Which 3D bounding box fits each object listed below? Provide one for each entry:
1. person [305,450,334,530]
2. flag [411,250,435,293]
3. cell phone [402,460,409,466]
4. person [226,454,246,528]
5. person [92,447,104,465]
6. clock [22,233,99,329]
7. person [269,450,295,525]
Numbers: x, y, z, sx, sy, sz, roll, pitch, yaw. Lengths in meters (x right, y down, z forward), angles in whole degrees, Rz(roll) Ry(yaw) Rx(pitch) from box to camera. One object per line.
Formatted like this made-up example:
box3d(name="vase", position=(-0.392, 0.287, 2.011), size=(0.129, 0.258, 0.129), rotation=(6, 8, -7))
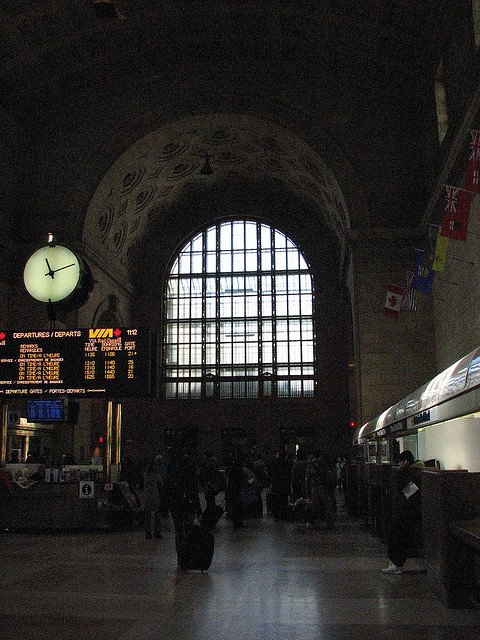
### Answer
box3d(name="person", position=(1.942, 4.005, 13.953), size=(0.566, 1.712, 2.121), rotation=(-2, -13, 13))
box3d(name="flag", position=(5.787, -1.546, 18.483), size=(0.651, 1.502, 0.032), rotation=(6, -22, 28))
box3d(name="cell phone", position=(2.178, 1.884, 7.733), size=(0.014, 0.070, 0.062), rotation=(10, 19, -38))
box3d(name="person", position=(-0.083, 4.058, 14.003), size=(0.451, 1.642, 0.753), rotation=(1, -11, -3))
box3d(name="person", position=(-3.616, 3.461, 14.906), size=(0.207, 0.412, 0.849), rotation=(3, -14, -13))
box3d(name="clock", position=(-4.075, -0.955, 12.624), size=(1.375, 2.249, 0.690), rotation=(-5, 28, -32))
box3d(name="person", position=(1.089, 4.423, 15.621), size=(0.566, 1.728, 0.796), rotation=(0, -11, 3))
